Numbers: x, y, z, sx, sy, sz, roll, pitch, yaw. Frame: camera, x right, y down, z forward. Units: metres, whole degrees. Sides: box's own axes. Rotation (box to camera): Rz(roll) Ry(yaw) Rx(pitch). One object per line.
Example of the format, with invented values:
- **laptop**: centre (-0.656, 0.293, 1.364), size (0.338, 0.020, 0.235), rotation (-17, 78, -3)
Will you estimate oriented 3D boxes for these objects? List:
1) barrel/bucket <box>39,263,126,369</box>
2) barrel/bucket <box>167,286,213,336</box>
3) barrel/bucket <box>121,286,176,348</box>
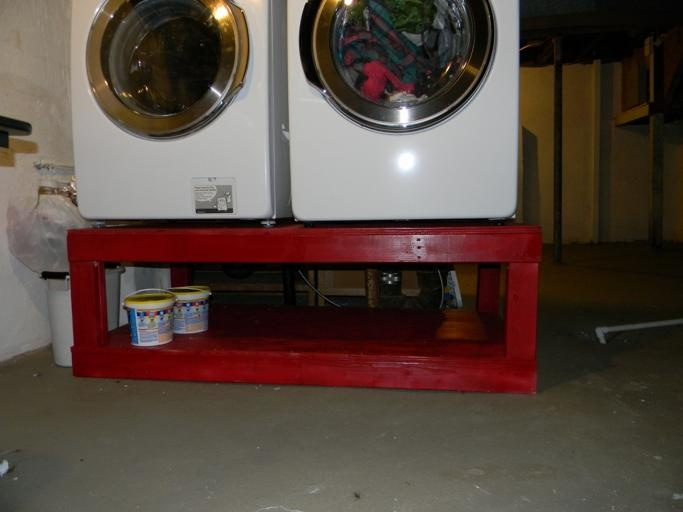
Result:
- **barrel/bucket**: centre (-1.144, 0.221, 2.427), size (0.244, 0.303, 0.222), rotation (-2, 1, -25)
- **barrel/bucket**: centre (-0.644, 0.229, 2.443), size (0.162, 0.185, 0.173), rotation (1, 5, 0)
- **barrel/bucket**: centre (-0.750, 0.230, 2.250), size (0.197, 0.196, 0.204), rotation (-1, 1, 0)
